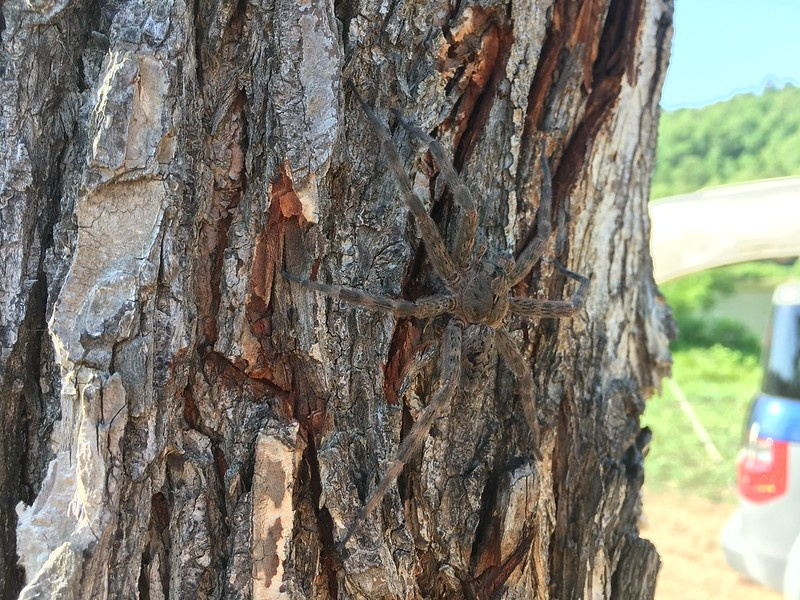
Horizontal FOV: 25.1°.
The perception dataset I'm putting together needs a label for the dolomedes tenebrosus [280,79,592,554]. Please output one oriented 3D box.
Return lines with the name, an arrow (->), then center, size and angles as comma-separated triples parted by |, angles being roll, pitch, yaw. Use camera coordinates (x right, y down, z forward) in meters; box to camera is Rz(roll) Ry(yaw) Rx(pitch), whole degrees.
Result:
dolomedes tenebrosus -> 0.381, 0.060, 11.299 | 1.727, 2.867, 0.394 | -1, -1, -30
